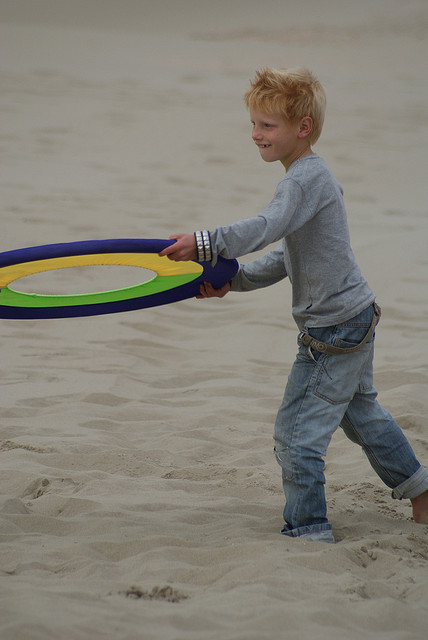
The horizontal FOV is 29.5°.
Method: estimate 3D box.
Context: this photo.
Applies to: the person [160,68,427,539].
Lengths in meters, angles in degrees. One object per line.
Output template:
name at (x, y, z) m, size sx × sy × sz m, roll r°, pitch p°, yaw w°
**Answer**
person at (0.350, -0.026, 3.080) m, size 1.109 × 1.770 × 0.801 m, roll 1°, pitch 8°, yaw -4°
